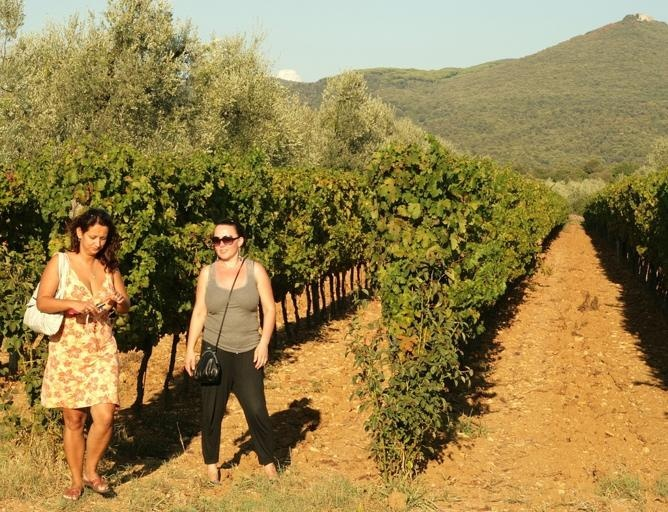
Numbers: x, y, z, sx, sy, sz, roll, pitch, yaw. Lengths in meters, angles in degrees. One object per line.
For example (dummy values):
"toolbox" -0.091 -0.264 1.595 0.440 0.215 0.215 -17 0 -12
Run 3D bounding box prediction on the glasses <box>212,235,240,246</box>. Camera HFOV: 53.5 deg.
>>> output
"glasses" -1.358 -0.197 8.216 0.339 0.120 0.124 0 9 5

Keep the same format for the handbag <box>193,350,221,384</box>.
"handbag" -1.539 1.354 8.077 0.315 0.444 0.171 -3 9 -14

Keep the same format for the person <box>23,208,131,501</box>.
"person" -2.966 1.191 7.938 1.032 3.476 0.615 -5 9 -27
